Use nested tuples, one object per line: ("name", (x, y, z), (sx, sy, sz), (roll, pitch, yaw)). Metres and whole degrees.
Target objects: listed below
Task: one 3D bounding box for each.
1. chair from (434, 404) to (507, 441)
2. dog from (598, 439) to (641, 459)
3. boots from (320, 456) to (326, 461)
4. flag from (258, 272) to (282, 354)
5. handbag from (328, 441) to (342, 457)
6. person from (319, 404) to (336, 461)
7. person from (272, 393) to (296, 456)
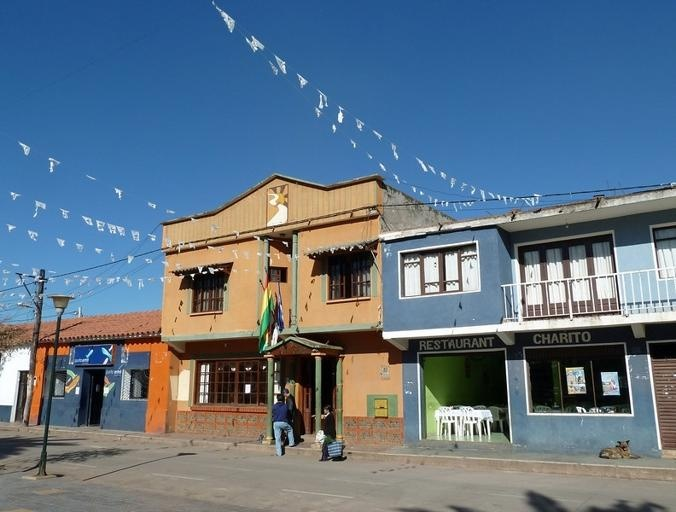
("chair", (4.840, 6.080, 20.696), (2.780, 1.254, 2.249), (-1, -18, -1))
("dog", (8.060, 5.603, 16.281), (0.897, 0.464, 0.545), (-9, -23, 9))
("boots", (-0.470, 6.678, 18.658), (0.211, 0.161, 0.462), (1, -18, -7))
("flag", (-2.649, 2.369, 22.974), (0.965, 2.953, 0.997), (1, -17, -8))
("handbag", (-0.086, 6.414, 18.723), (0.446, 0.365, 0.463), (-1, -8, 1))
("person", (-0.308, 5.913, 18.846), (0.546, 1.754, 0.546), (-4, -7, 40))
("person", (-1.979, 6.152, 20.279), (0.467, 1.900, 1.143), (-6, -18, 17))
